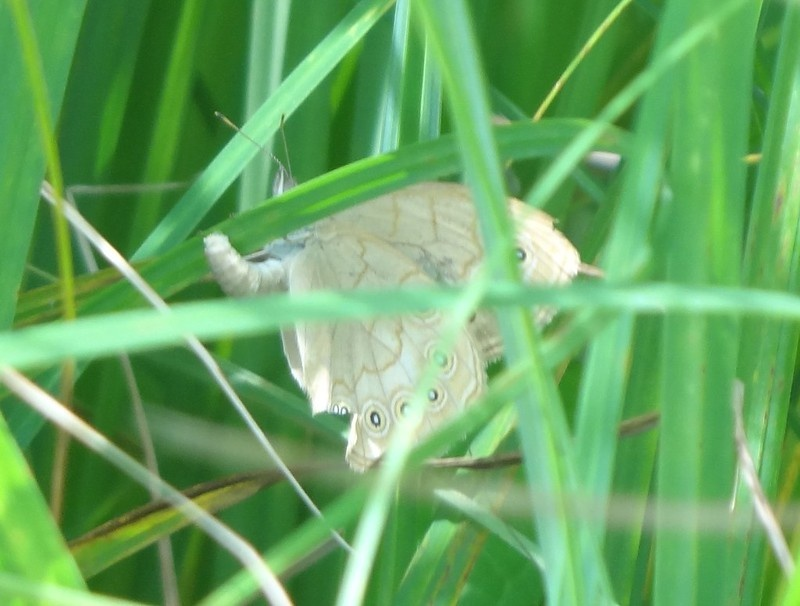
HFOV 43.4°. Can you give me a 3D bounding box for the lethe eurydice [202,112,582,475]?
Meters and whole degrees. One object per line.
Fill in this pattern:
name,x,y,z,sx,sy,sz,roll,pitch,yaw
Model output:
lethe eurydice,-0.005,0.030,1.443,0.412,0.456,0.329,22,-43,21
